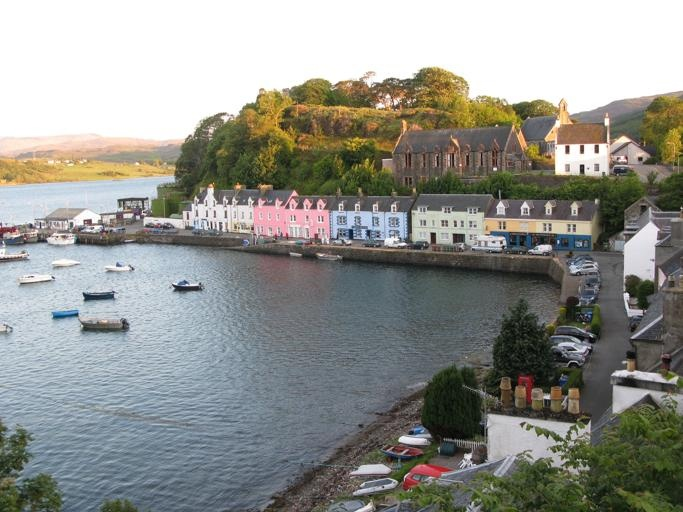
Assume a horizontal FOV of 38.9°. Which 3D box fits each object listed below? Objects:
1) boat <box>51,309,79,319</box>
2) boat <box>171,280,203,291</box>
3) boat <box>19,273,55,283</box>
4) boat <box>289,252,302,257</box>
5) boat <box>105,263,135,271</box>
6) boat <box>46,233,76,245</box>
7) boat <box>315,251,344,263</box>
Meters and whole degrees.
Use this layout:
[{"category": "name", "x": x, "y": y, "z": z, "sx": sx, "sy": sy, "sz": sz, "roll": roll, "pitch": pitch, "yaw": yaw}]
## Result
[{"category": "boat", "x": -27.385, "y": 5.601, "z": 95.500, "sx": 2.553, "sy": 0.566, "sz": 3.412, "roll": -7, "pitch": 13, "yaw": -17}, {"category": "boat", "x": -16.864, "y": 3.274, "z": 104.666, "sx": 3.877, "sy": 1.247, "sz": 1.340, "roll": 6, "pitch": 14, "yaw": 26}, {"category": "boat", "x": -36.662, "y": 2.834, "z": 115.039, "sx": 4.575, "sy": 1.287, "sz": 1.544, "roll": 0, "pitch": 2, "yaw": -24}, {"category": "boat", "x": -6.214, "y": -0.184, "z": 126.095, "sx": 0.857, "sy": 0.457, "sz": 2.699, "roll": -13, "pitch": 16, "yaw": -37}, {"category": "boat", "x": -27.717, "y": 1.559, "z": 120.075, "sx": 2.793, "sy": 0.978, "sz": 1.589, "roll": 2, "pitch": 5, "yaw": 14}, {"category": "boat", "x": -44.547, "y": -2.624, "z": 153.275, "sx": 3.280, "sy": 1.333, "sz": 2.139, "roll": 0, "pitch": 10, "yaw": 1}, {"category": "boat", "x": -1.703, "y": 0.150, "z": 120.724, "sx": 4.180, "sy": 0.921, "sz": 1.094, "roll": 5, "pitch": 11, "yaw": 37}]
